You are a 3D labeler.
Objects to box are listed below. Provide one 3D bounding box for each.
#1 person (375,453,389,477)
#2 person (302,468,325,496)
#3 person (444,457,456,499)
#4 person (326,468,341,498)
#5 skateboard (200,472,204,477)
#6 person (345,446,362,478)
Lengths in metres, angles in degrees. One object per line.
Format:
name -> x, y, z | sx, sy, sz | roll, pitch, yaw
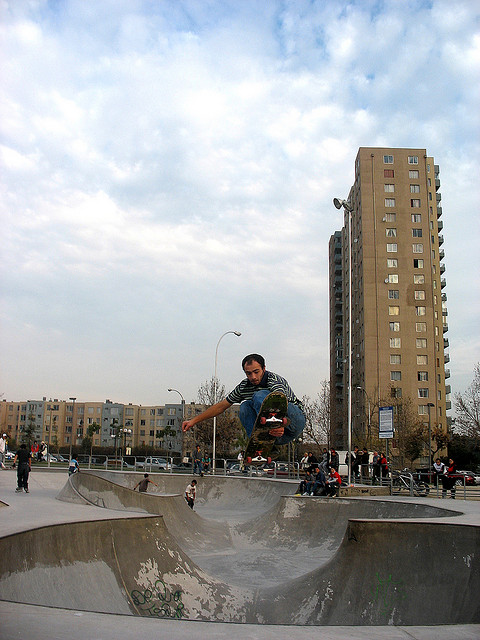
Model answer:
person -> 5.137, 5.290, 18.096 | 0.451, 0.727, 1.686 | -2, -13, 15
person -> 2.244, 4.965, 15.461 | 0.732, 0.758, 0.445 | 11, -15, -38
person -> 6.261, 4.689, 14.792 | 0.265, 1.083, 1.150 | -4, -13, 22
person -> 2.887, 4.997, 15.469 | 0.425, 0.821, 0.340 | -9, -15, 41
skateboard -> -1.604, 6.325, 20.518 | 0.151, 0.191, 0.052 | -1, 5, 3
person -> 4.368, 5.428, 18.865 | 0.516, 1.095, 2.050 | -2, -13, 13
